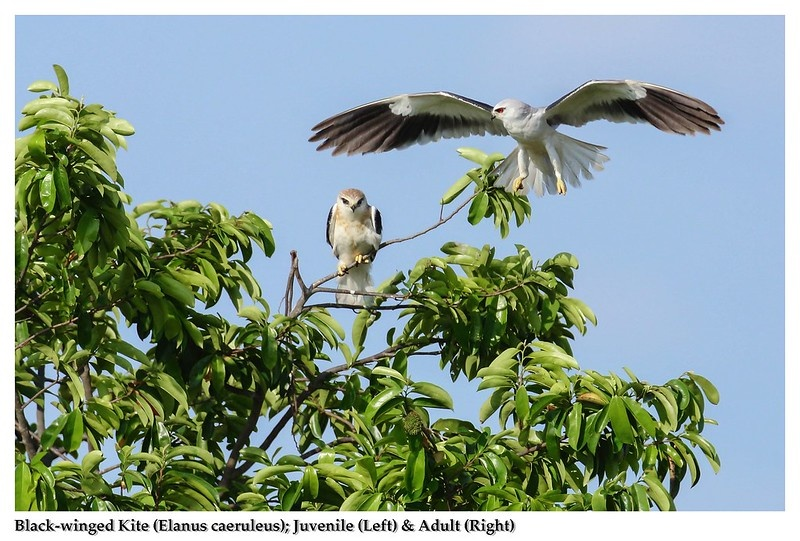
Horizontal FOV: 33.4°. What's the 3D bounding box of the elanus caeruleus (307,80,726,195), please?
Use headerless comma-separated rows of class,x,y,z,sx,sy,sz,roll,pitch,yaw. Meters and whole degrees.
elanus caeruleus,1.047,-1.091,12.105,3.399,1.111,1.087,-2,-22,14

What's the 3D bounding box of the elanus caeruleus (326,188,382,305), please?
elanus caeruleus,-0.447,-0.296,13.252,0.500,0.911,1.008,-1,-8,2
